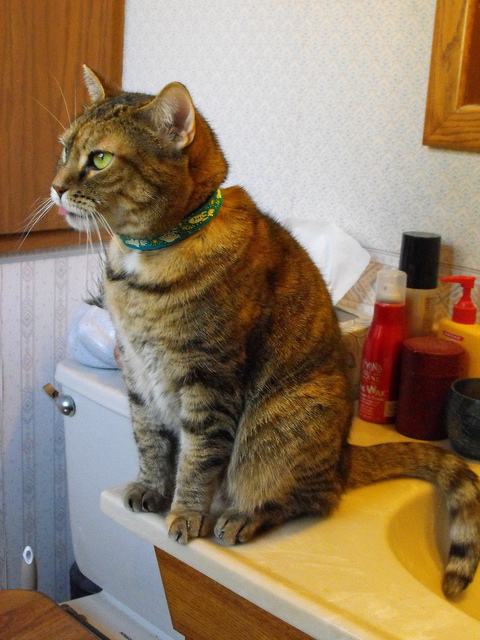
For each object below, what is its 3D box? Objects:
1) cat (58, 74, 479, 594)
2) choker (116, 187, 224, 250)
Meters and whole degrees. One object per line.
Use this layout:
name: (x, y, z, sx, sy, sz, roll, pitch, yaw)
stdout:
cat: (0.021, 0.029, 0.857, 0.558, 0.621, 0.516, -5, 10, -37)
choker: (-0.065, -0.125, 0.648, 0.094, 0.066, 0.093, 16, 26, 37)
